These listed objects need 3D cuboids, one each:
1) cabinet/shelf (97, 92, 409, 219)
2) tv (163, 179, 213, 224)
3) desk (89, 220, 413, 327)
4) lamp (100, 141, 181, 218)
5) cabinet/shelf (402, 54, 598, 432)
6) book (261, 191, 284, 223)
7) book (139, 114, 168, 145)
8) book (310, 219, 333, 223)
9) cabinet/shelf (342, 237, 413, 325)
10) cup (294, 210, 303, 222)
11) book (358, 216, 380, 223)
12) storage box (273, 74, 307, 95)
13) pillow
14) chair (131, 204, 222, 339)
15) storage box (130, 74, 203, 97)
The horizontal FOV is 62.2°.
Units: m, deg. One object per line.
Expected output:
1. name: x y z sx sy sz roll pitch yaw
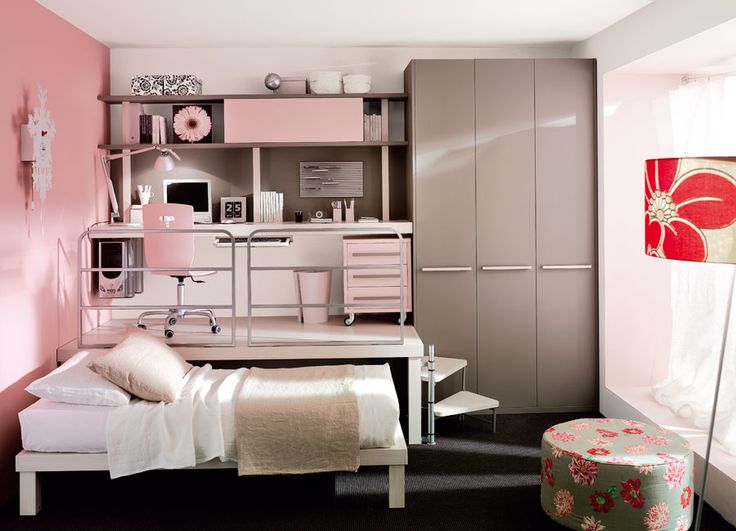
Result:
1. cabinet/shelf: -0.995 -0.874 5.589 2.674 1.325 0.368 -2 15 -6
2. tv: -1.599 -0.565 5.414 0.455 0.443 0.074 -1 -3 -2
3. desk: -1.065 0.038 5.632 2.794 0.893 0.821 0 3 0
4. lamp: -2.070 -0.773 5.587 0.680 0.666 0.404 -2 14 -6
5. cabinet/shelf: 1.197 -0.235 5.284 1.601 2.992 0.614 -1 14 -3
6. book: -0.814 -0.539 5.508 0.259 0.342 0.244 -1 6 -1
7. book: -1.955 -1.221 5.659 0.247 0.310 0.327 0 2 -6
8. book: -0.420 -0.404 5.474 0.199 0.018 0.226 -2 14 -8
9. cabinet/shelf: 0.090 0.132 5.242 0.592 0.809 0.614 0 14 -1
10. cup: -0.632 -0.452 5.589 0.085 0.112 0.091 -1 -1 0
11. book: 0.014 -0.413 5.553 0.179 0.040 0.359 0 14 3
12. storage box: -0.704 -1.629 5.498 0.208 0.089 0.203 0 5 -2
13. pillow: -1.603 0.719 4.129 0.630 0.182 0.625 20 23 19
14. chair: -1.537 0.030 5.153 0.686 1.018 0.672 4 2 20
15. storage box: -1.809 -1.607 5.445 0.607 0.185 0.171 -3 14 -10
